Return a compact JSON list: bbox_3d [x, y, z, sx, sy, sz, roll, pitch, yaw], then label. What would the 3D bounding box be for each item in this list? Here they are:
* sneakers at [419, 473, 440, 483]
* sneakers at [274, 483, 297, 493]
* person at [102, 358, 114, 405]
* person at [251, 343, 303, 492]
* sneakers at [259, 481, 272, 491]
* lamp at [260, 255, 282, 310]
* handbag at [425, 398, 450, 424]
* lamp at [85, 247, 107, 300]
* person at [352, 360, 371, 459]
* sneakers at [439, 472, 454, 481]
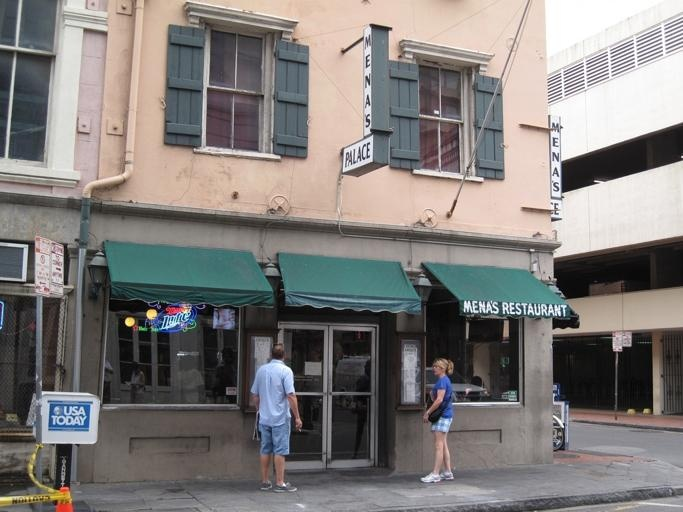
[{"bbox_3d":[1.707,4.193,17.079,0.360,0.197,0.161,2,-9,3],"label":"sneakers"},{"bbox_3d":[-0.966,4.121,16.047,0.406,0.197,0.171,2,-5,-9],"label":"sneakers"},{"bbox_3d":[-4.257,2.304,16.635,0.170,0.788,0.075,6,-11,-40],"label":"person"},{"bbox_3d":[-1.163,2.931,16.333,0.833,2.586,1.244,0,-9,-5],"label":"person"},{"bbox_3d":[-1.323,4.090,16.062,0.095,0.138,0.306,-1,-14,7],"label":"sneakers"},{"bbox_3d":[-1.368,0.552,17.322,0.411,0.844,0.404,5,5,-11],"label":"lamp"},{"bbox_3d":[1.836,2.943,17.002,0.375,0.437,0.286,13,-16,-24],"label":"handbag"},{"bbox_3d":[-4.393,0.315,16.367,0.348,0.921,0.610,1,-9,-15],"label":"lamp"},{"bbox_3d":[0.459,3.131,18.471,0.392,1.979,0.122,-1,-8,-1],"label":"person"},{"bbox_3d":[2.041,4.201,17.218,0.287,0.149,0.128,1,-3,21],"label":"sneakers"}]
